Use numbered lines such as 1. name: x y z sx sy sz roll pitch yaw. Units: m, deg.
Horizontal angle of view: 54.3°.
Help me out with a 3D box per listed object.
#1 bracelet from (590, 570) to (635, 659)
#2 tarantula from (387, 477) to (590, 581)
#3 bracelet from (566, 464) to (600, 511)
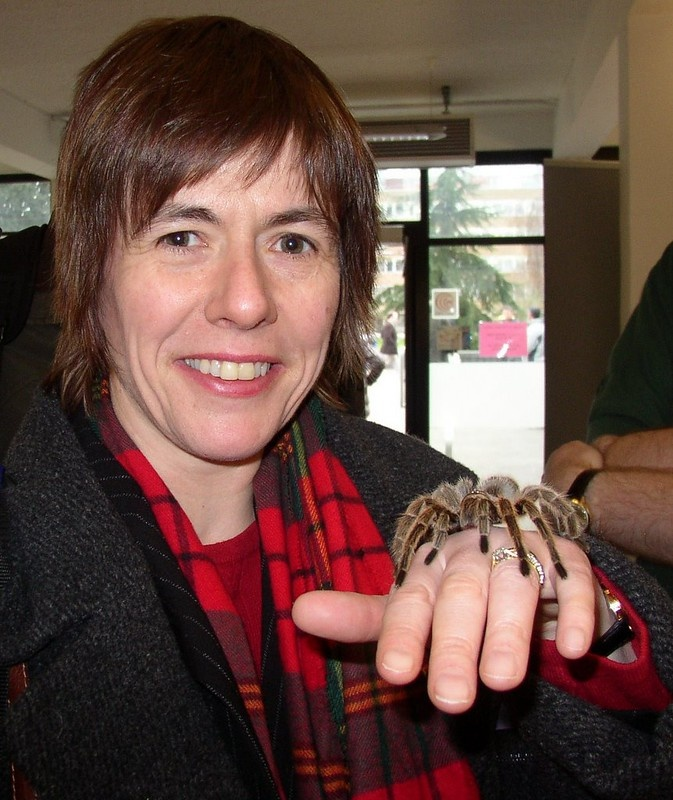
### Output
1. bracelet: 0.373 0.289 0.889 0.035 0.093 0.068 -7 -4 -25
2. tarantula: 0.189 0.185 0.933 0.272 0.083 0.213 -15 -13 29
3. bracelet: 0.499 0.178 1.324 0.062 0.060 0.060 -3 37 -13
